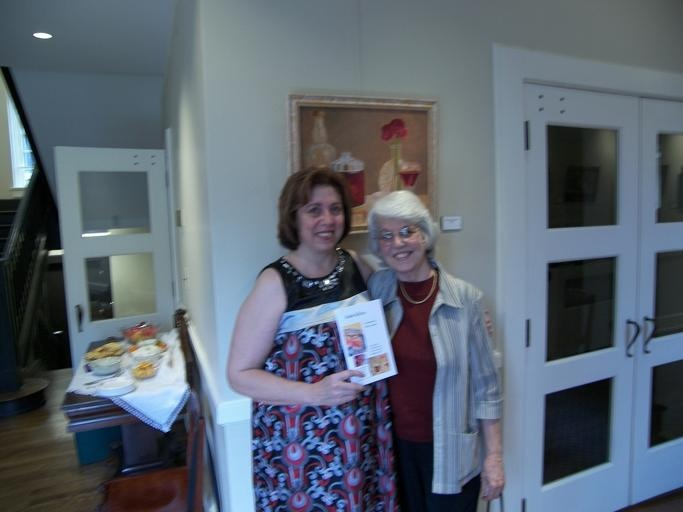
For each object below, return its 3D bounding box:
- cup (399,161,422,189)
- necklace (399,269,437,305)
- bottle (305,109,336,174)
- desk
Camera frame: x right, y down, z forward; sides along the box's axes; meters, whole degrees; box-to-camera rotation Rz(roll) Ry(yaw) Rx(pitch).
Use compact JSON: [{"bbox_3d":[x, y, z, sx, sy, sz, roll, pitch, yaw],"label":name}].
[{"bbox_3d":[0.373,-0.458,3.019,0.128,0.227,0.145,-2,6,-2],"label":"cup"},{"bbox_3d":[0.373,0.155,2.655,0.172,0.164,0.040,-7,-5,9],"label":"necklace"},{"bbox_3d":[-0.125,-0.626,2.878,0.166,0.297,0.071,-8,13,-3],"label":"bottle"},{"bbox_3d":[-1.340,0.955,3.742,0.901,0.804,1.690,-1,4,-15],"label":"desk"}]
